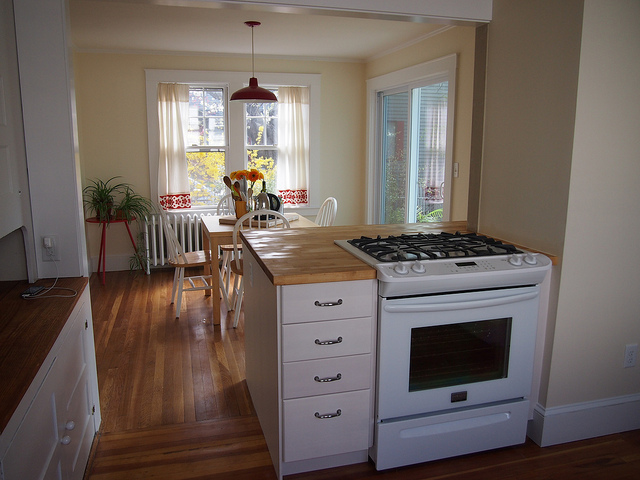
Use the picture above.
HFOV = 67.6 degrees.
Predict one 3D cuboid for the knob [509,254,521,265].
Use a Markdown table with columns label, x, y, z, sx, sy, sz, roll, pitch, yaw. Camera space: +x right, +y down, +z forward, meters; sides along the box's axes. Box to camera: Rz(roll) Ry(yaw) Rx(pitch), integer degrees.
| label | x | y | z | sx | sy | sz | roll | pitch | yaw |
| --- | --- | --- | --- | --- | --- | --- | --- | --- | --- |
| knob | 0.967 | 0.101 | 2.360 | 0.040 | 0.023 | 0.041 | 3 | 11 | -9 |

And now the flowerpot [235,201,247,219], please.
| label | x | y | z | sx | sy | sz | roll | pitch | yaw |
| --- | --- | --- | --- | --- | --- | --- | --- | --- | --- |
| flowerpot | -0.744 | -0.282 | 4.425 | 0.123 | 0.148 | 0.090 | -1 | 12 | 10 |

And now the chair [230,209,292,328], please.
| label | x | y | z | sx | sy | sz | roll | pitch | yaw |
| --- | --- | --- | --- | --- | --- | --- | --- | --- | --- |
| chair | -0.501 | 0.194 | 4.175 | 0.604 | 1.003 | 0.982 | -5 | 13 | -10 |

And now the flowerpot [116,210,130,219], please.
| label | x | y | z | sx | sy | sz | roll | pitch | yaw |
| --- | --- | --- | --- | --- | --- | --- | --- | --- | --- |
| flowerpot | -2.218 | -0.276 | 5.274 | 0.120 | 0.090 | 0.061 | 2 | 13 | 22 |

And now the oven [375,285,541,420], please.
| label | x | y | z | sx | sy | sz | roll | pitch | yaw |
| --- | --- | --- | --- | --- | --- | --- | --- | --- | --- |
| oven | 0.601 | 0.545 | 2.632 | 0.981 | 0.772 | 0.672 | 0 | 6 | -22 |

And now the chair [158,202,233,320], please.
| label | x | y | z | sx | sy | sz | roll | pitch | yaw |
| --- | --- | --- | --- | --- | --- | --- | --- | --- | --- |
| chair | -1.213 | 0.168 | 4.520 | 0.601 | 0.948 | 0.473 | -3 | 8 | -26 |

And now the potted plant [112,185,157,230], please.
| label | x | y | z | sx | sy | sz | roll | pitch | yaw |
| --- | --- | --- | --- | --- | --- | --- | --- | --- | --- |
| potted plant | -2.167 | -0.356 | 5.370 | 0.508 | 0.246 | 0.497 | 0 | -9 | -20 |

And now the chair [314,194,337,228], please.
| label | x | y | z | sx | sy | sz | roll | pitch | yaw |
| --- | --- | --- | --- | --- | --- | --- | --- | --- | --- |
| chair | 0.070 | -0.283 | 5.152 | 0.163 | 0.317 | 0.536 | -5 | 13 | -9 |

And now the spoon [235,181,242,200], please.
| label | x | y | z | sx | sy | sz | roll | pitch | yaw |
| --- | --- | --- | --- | --- | --- | --- | --- | --- | --- |
| spoon | -0.750 | -0.460 | 4.385 | 0.056 | 0.140 | 0.028 | -9 | 14 | -27 |

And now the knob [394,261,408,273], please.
| label | x | y | z | sx | sy | sz | roll | pitch | yaw |
| --- | --- | --- | --- | --- | --- | --- | --- | --- | --- |
| knob | 0.378 | 0.131 | 2.223 | 0.056 | 0.032 | 0.067 | 4 | 14 | 27 |

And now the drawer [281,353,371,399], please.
| label | x | y | z | sx | sy | sz | roll | pitch | yaw |
| --- | --- | --- | --- | --- | --- | --- | --- | --- | --- |
| drawer | 0.025 | 0.637 | 2.257 | 0.245 | 0.094 | 0.272 | -2 | 7 | -17 |

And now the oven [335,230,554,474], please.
| label | x | y | z | sx | sy | sz | roll | pitch | yaw |
| --- | --- | --- | --- | --- | --- | --- | --- | --- | --- |
| oven | 0.766 | 0.438 | 2.877 | 1.192 | 1.341 | 1.049 | -3 | 8 | -19 |

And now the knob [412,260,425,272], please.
| label | x | y | z | sx | sy | sz | roll | pitch | yaw |
| --- | --- | --- | --- | --- | --- | --- | --- | --- | --- |
| knob | 0.458 | 0.123 | 2.224 | 0.042 | 0.018 | 0.043 | -4 | 16 | -15 |

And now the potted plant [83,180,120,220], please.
| label | x | y | z | sx | sy | sz | roll | pitch | yaw |
| --- | --- | --- | --- | --- | --- | --- | --- | --- | --- |
| potted plant | -2.378 | -0.419 | 5.306 | 0.325 | 0.414 | 0.351 | -3 | -5 | -4 |

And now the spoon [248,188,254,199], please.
| label | x | y | z | sx | sy | sz | roll | pitch | yaw |
| --- | --- | --- | --- | --- | --- | --- | --- | --- | --- |
| spoon | -0.644 | -0.425 | 4.394 | 0.042 | 0.098 | 0.058 | -5 | 12 | -10 |

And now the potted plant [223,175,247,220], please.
| label | x | y | z | sx | sy | sz | roll | pitch | yaw |
| --- | --- | --- | --- | --- | --- | --- | --- | --- | --- |
| potted plant | -0.784 | -0.394 | 4.453 | 0.185 | 0.425 | 0.121 | -1 | 13 | 7 |
